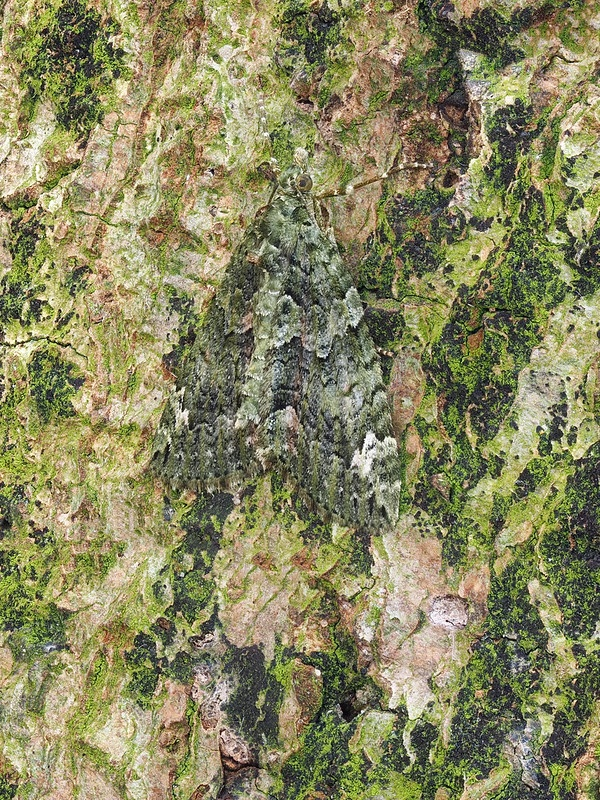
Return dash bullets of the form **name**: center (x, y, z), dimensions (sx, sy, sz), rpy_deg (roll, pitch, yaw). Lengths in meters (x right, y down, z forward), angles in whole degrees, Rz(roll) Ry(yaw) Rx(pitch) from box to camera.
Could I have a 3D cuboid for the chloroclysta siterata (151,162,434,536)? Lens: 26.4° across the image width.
- **chloroclysta siterata**: center (0.006, -0.071, 5.331), dimensions (1.058, 0.259, 1.364), rpy_deg (32, 85, 5)
